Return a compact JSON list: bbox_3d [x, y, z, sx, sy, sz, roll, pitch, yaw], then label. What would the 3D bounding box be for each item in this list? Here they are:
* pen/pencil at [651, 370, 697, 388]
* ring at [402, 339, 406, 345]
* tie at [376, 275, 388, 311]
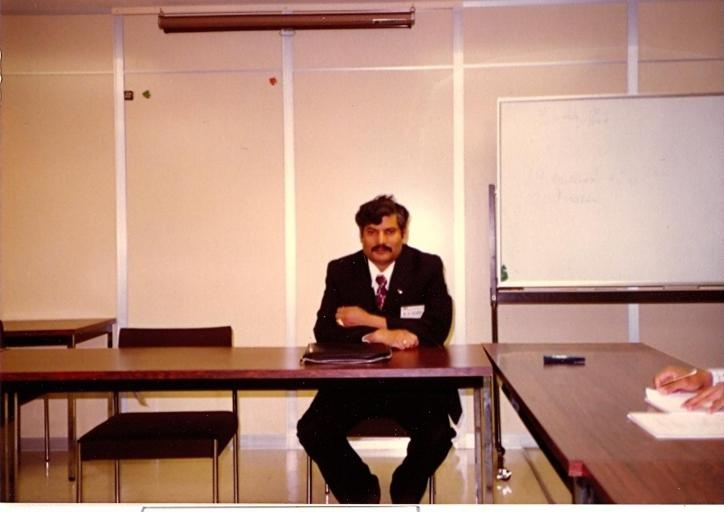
[{"bbox_3d":[1.548,0.602,3.369,0.143,0.026,0.024,-26,25,-2],"label":"pen/pencil"},{"bbox_3d":[0.247,0.495,3.968,0.024,0.023,0.006,11,-3,13],"label":"ring"},{"bbox_3d":[0.129,0.229,4.463,0.056,0.215,0.054,-1,-40,1],"label":"tie"}]
